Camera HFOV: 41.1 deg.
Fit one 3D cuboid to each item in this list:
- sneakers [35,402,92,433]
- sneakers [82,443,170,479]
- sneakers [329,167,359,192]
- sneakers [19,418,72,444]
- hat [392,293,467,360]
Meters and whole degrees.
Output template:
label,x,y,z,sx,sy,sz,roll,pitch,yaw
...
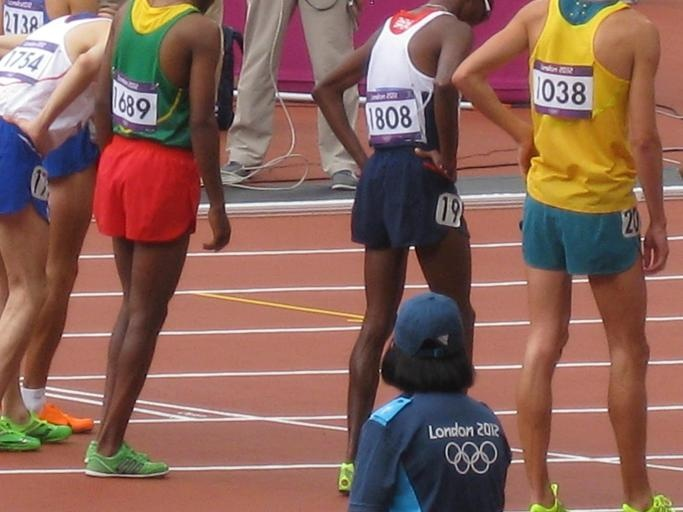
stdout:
label,x,y,z,sx,sy,sz,roll,pitch,yaw
sneakers,-1.349,0.795,4.505,0.285,0.129,0.110,19,5,-17
sneakers,-0.953,0.914,4.092,0.407,0.199,0.145,2,4,-9
sneakers,0.021,-0.560,6.769,0.112,0.133,0.291,3,9,13
sneakers,-1.403,0.832,4.355,0.243,0.118,0.092,18,21,-27
hat,0.273,0.187,2.787,0.141,0.127,0.209,2,22,8
